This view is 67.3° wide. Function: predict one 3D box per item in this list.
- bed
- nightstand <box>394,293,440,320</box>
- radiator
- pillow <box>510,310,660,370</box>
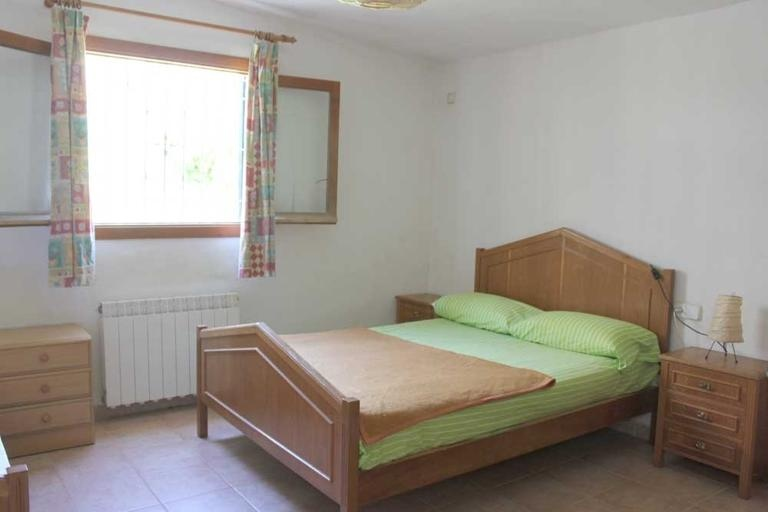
[{"bbox_3d":[0.466,0.807,4.526,2.978,1.621,2.163,-5,10,-33],"label":"bed"},{"bbox_3d":[0.350,0.540,6.012,0.289,0.370,0.410,-3,6,-36],"label":"nightstand"},{"bbox_3d":[-1.858,0.808,5.106,1.180,0.934,0.132,-3,16,-28],"label":"radiator"},{"bbox_3d":[1.584,0.609,4.643,0.774,0.185,0.458,12,16,42],"label":"pillow"}]
